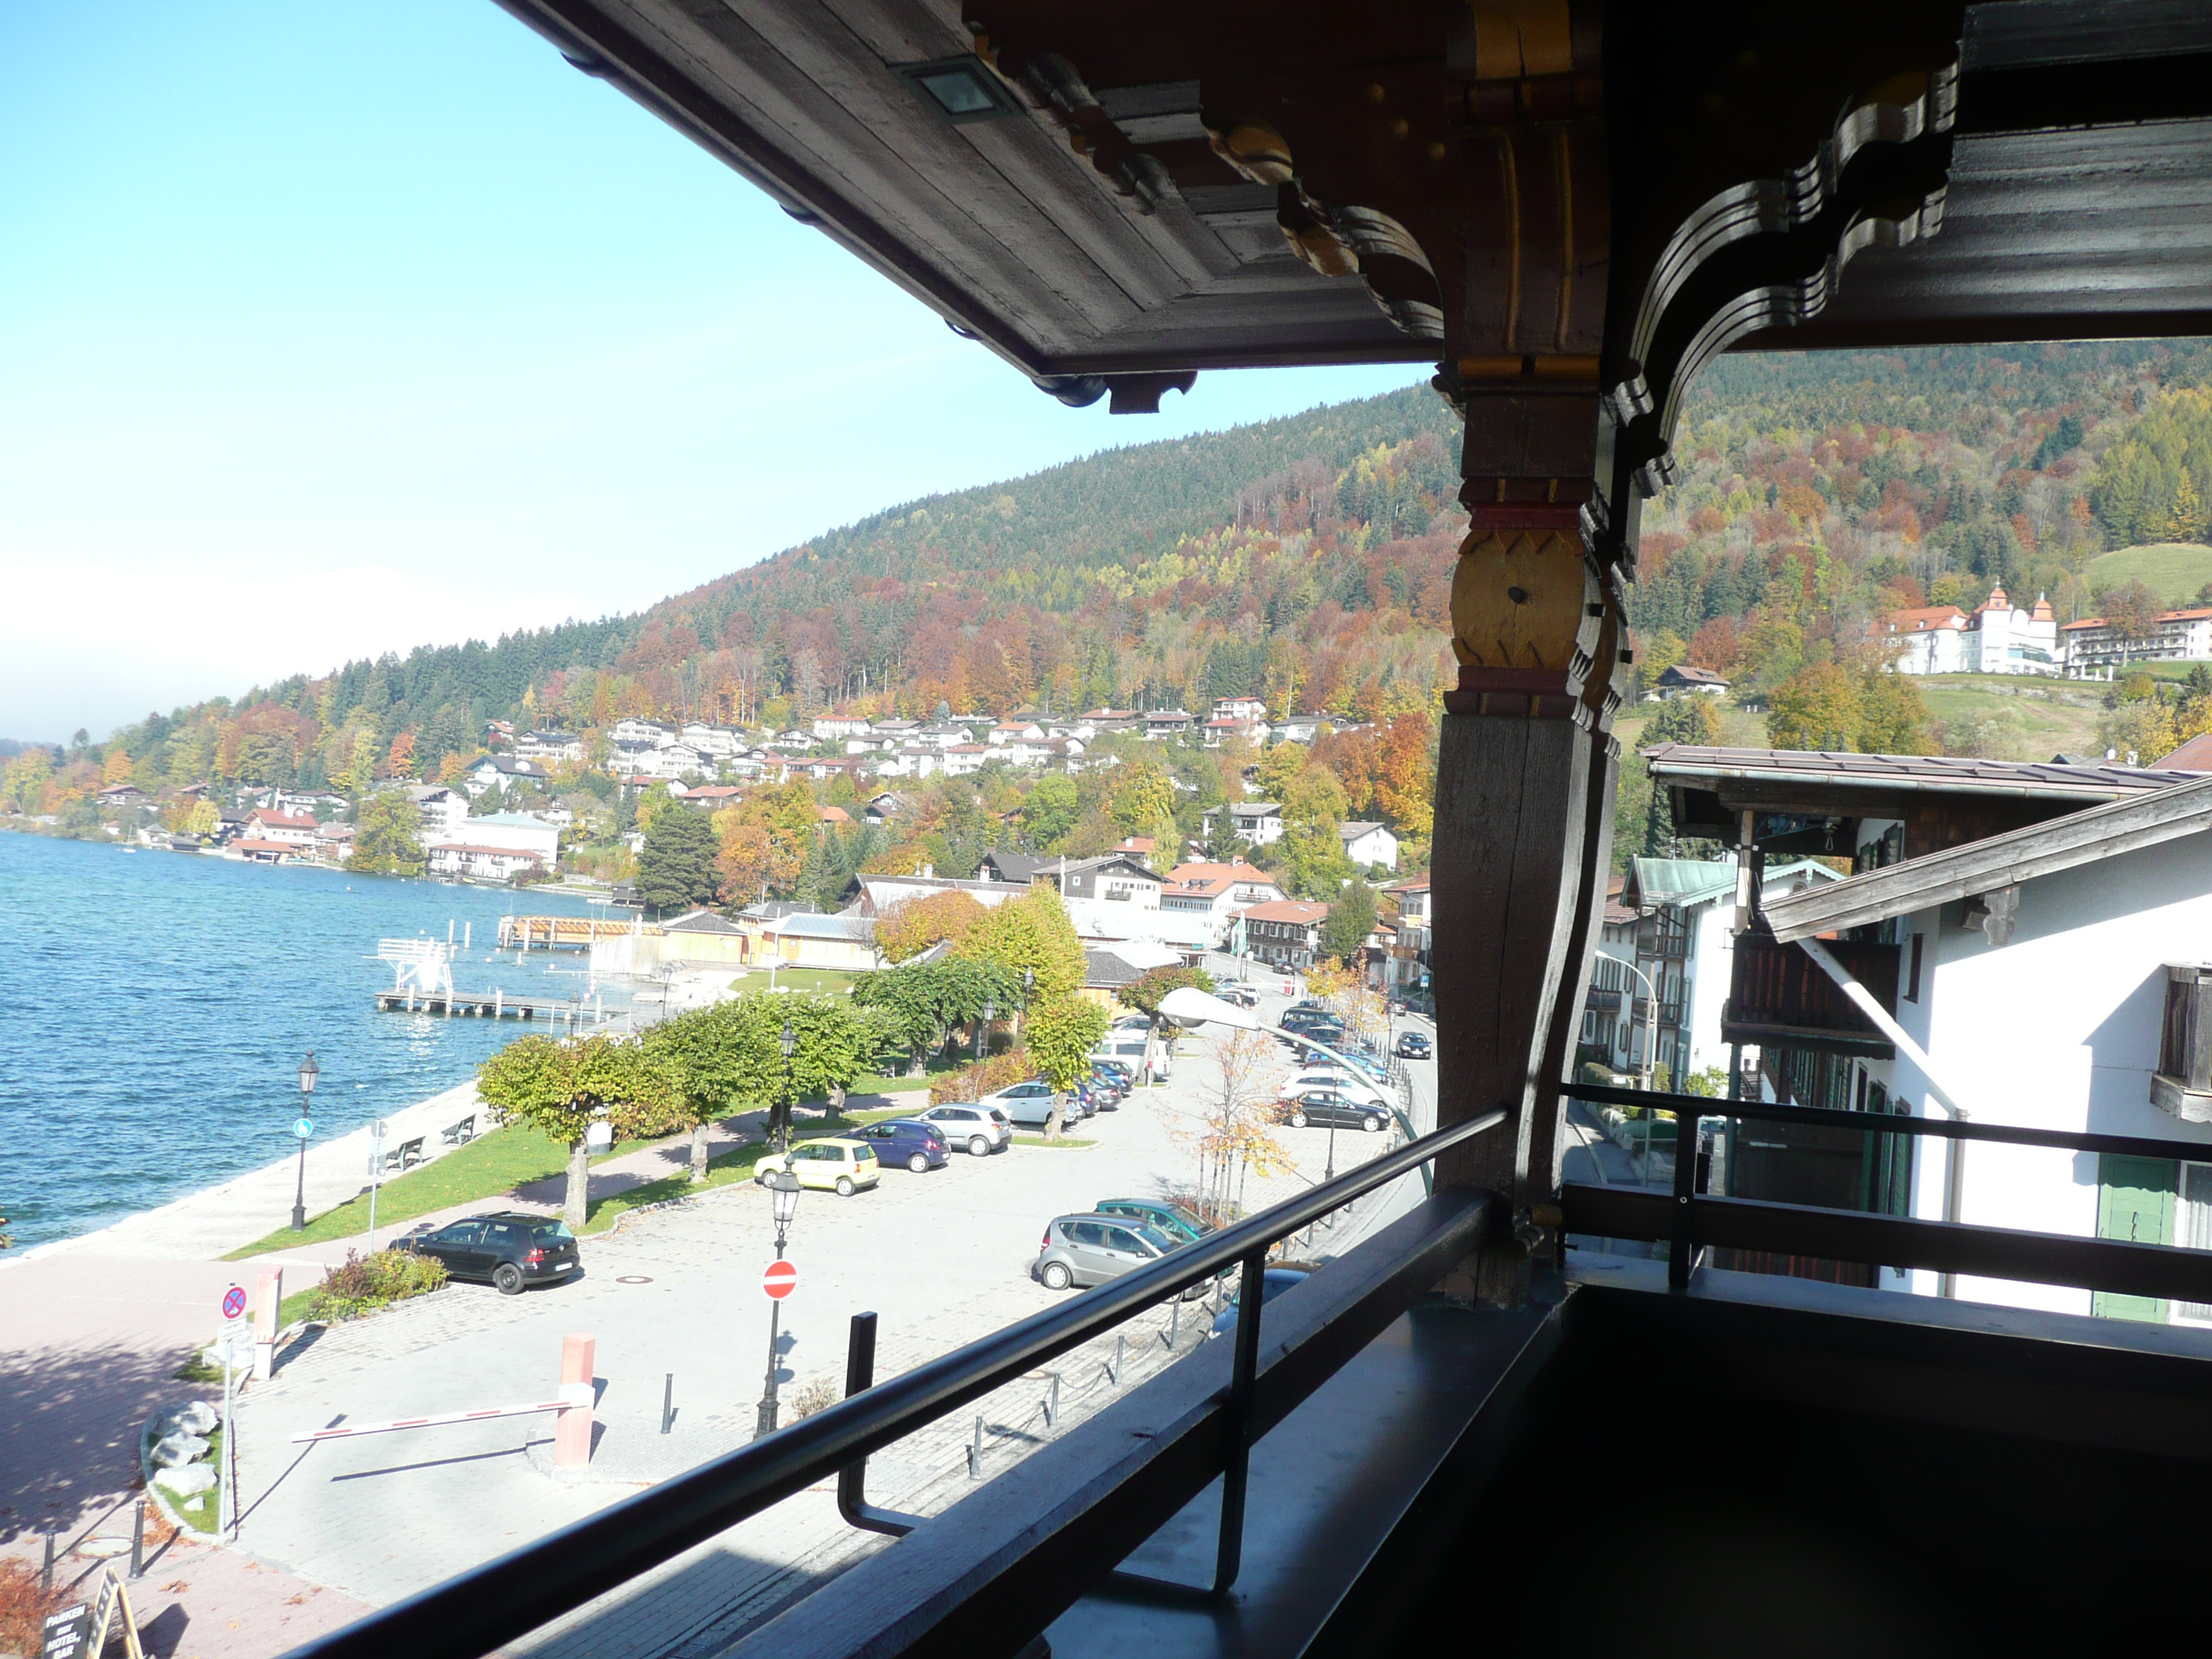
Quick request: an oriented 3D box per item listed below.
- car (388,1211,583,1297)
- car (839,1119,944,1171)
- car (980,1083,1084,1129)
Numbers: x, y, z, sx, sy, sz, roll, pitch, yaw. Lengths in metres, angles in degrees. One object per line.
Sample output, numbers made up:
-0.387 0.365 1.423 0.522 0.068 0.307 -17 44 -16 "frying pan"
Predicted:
-12.601 8.648 33.829 3.126 1.400 2.471 -3 2 -21 "car"
-5.300 8.245 43.146 1.912 0.702 1.131 6 2 20 "car"
-2.254 8.718 51.817 2.342 1.106 1.434 4 -5 5 "car"
